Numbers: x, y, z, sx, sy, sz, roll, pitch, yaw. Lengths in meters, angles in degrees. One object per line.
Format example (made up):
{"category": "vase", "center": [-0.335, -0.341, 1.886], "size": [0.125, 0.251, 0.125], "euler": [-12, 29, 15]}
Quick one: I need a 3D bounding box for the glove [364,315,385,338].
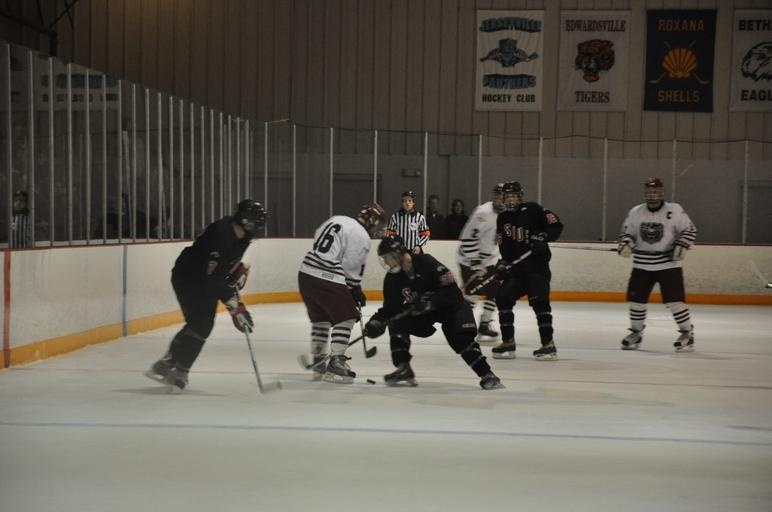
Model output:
{"category": "glove", "center": [-0.108, 0.599, 6.449], "size": [0.179, 0.130, 0.136], "euler": [3, -11, 33]}

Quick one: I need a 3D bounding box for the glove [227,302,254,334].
{"category": "glove", "center": [-1.225, 0.531, 6.515], "size": [0.167, 0.283, 0.102], "euler": [-21, 26, 13]}

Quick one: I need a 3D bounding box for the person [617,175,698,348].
{"category": "person", "center": [3.111, 0.087, 8.787], "size": [0.842, 1.907, 0.791], "euler": [1, 6, 18]}

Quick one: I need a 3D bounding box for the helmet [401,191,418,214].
{"category": "helmet", "center": [0.295, -0.694, 10.053], "size": [0.151, 0.269, 0.177], "euler": [-1, 5, -5]}

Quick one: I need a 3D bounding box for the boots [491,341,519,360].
{"category": "boots", "center": [1.239, 0.980, 8.005], "size": [0.245, 0.215, 0.145], "euler": [2, -1, 4]}

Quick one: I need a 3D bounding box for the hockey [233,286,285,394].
{"category": "hockey", "center": [-1.372, 0.900, 8.167], "size": [0.154, 0.872, 0.098], "euler": [-19, -5, -2]}

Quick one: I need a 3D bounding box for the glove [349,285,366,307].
{"category": "glove", "center": [-0.260, 0.357, 7.017], "size": [0.129, 0.185, 0.193], "euler": [-7, 7, 1]}

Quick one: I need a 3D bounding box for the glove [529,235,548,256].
{"category": "glove", "center": [1.608, -0.110, 8.001], "size": [0.195, 0.219, 0.208], "euler": [0, 6, 13]}

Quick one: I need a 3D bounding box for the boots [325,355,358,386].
{"category": "boots", "center": [-0.416, 0.991, 6.687], "size": [0.345, 0.248, 0.151], "euler": [-1, -3, 30]}

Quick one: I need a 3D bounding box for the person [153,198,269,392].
{"category": "person", "center": [-1.514, 0.312, 6.409], "size": [0.986, 1.538, 0.483], "euler": [-3, 6, -19]}

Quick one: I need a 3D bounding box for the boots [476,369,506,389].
{"category": "boots", "center": [0.867, 1.043, 6.465], "size": [0.125, 0.102, 0.226], "euler": [4, -12, -17]}

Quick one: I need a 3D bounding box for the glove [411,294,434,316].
{"category": "glove", "center": [0.295, 0.409, 6.371], "size": [0.172, 0.179, 0.164], "euler": [-1, 5, -1]}

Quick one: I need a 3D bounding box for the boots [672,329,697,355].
{"category": "boots", "center": [3.342, 0.928, 8.570], "size": [0.202, 0.242, 0.415], "euler": [1, 6, 21]}

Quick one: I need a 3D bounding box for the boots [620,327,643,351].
{"category": "boots", "center": [2.784, 0.947, 8.693], "size": [0.133, 0.172, 0.401], "euler": [-1, -3, 27]}

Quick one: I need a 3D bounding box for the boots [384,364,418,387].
{"category": "boots", "center": [0.124, 1.036, 6.661], "size": [0.294, 0.211, 0.145], "euler": [4, -6, 4]}

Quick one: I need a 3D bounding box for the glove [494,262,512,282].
{"category": "glove", "center": [1.269, 0.162, 8.212], "size": [0.142, 0.162, 0.181], "euler": [-2, -8, 31]}

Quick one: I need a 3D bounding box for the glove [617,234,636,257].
{"category": "glove", "center": [2.806, -0.103, 8.953], "size": [0.157, 0.262, 0.104], "euler": [1, -37, 21]}

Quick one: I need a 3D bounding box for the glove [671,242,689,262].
{"category": "glove", "center": [3.311, -0.034, 8.643], "size": [0.148, 0.189, 0.069], "euler": [18, 35, 9]}

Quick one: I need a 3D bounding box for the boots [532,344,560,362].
{"category": "boots", "center": [1.669, 0.987, 7.957], "size": [0.237, 0.164, 0.140], "euler": [3, -3, 1]}

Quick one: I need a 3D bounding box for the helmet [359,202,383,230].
{"category": "helmet", "center": [-0.140, -0.370, 7.135], "size": [0.252, 0.234, 0.197], "euler": [11, 14, 13]}
